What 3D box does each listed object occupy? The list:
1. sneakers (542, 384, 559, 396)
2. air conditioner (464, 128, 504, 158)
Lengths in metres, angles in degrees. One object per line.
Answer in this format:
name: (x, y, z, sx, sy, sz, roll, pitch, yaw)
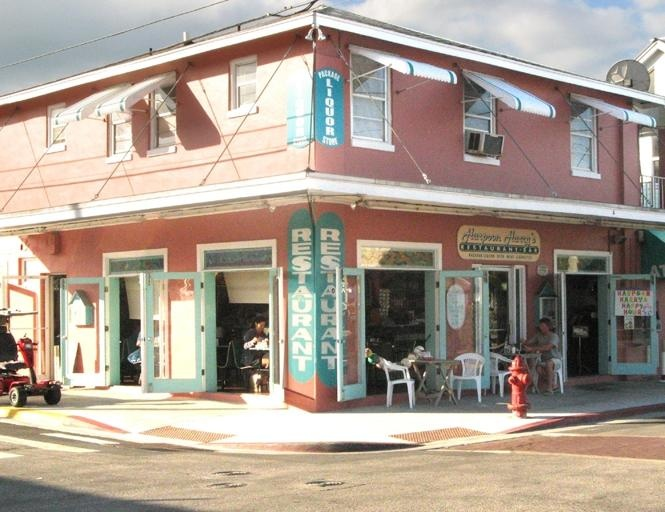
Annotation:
sneakers: (4.952, 3.082, 20.397, 0.191, 0.218, 0.554, -7, -16, 27)
air conditioner: (3.508, -2.583, 20.632, 1.010, 0.645, 0.384, 16, -14, -31)
